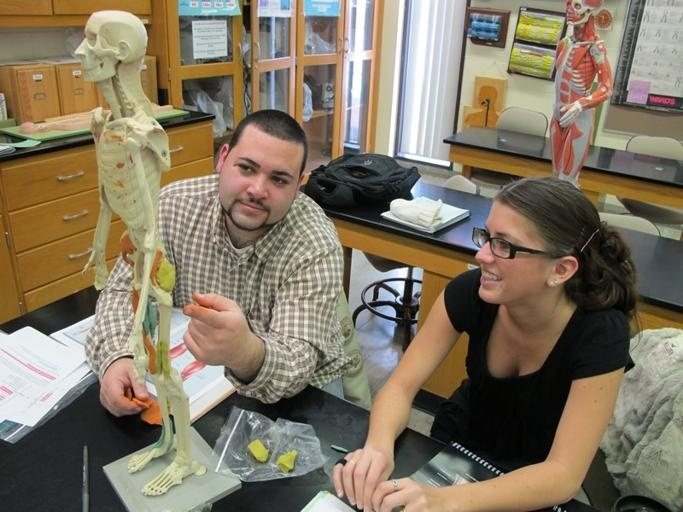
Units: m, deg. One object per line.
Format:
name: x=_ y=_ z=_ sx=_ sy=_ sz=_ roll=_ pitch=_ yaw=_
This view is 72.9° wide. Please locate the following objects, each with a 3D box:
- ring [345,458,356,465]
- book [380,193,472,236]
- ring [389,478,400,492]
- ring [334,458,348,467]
ring: x=0.022 y=0.515 z=1.168 sx=0.014 sy=0.007 sz=0.016 roll=0 pitch=-13 yaw=37
book: x=0.503 y=-0.247 z=2.645 sx=0.292 sy=0.096 sz=0.300 roll=-25 pitch=35 yaw=-38
ring: x=0.127 y=0.547 z=1.109 sx=0.012 sy=0.022 sz=0.022 roll=2 pitch=26 yaw=-1
ring: x=-0.001 y=0.527 z=1.190 sx=0.019 sy=0.016 sz=0.018 roll=-1 pitch=6 yaw=0
